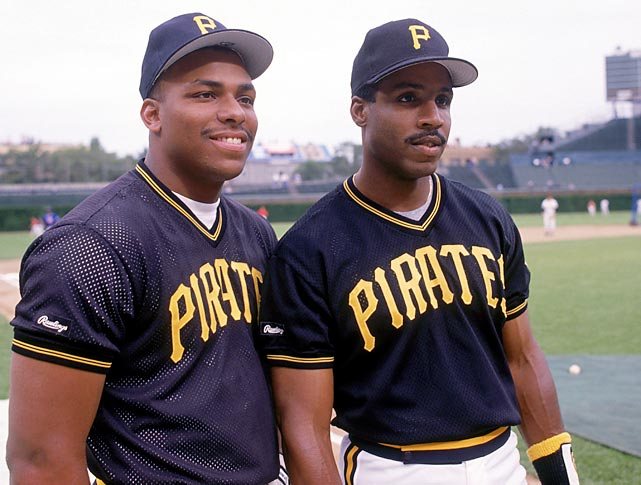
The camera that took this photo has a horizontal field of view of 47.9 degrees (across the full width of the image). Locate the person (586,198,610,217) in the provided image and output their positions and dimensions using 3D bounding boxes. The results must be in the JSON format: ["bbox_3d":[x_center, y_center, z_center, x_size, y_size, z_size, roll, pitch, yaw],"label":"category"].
[{"bbox_3d":[12.045,-1.474,31.229,0.884,0.943,0.291,-2,4,3],"label":"person"}]
